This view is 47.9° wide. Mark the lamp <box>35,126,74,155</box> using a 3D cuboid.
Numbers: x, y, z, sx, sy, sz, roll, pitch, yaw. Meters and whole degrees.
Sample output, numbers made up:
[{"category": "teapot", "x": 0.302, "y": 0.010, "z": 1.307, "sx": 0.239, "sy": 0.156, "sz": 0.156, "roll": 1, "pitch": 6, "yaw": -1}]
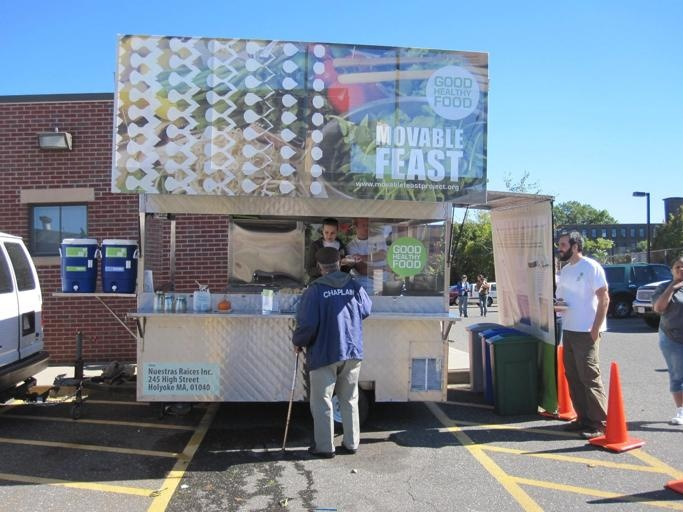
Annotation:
[{"category": "lamp", "x": -5.043, "y": -2.031, "z": 13.507, "sx": 0.507, "sy": 0.454, "sz": 0.370, "roll": 0, "pitch": -7, "yaw": -1}]

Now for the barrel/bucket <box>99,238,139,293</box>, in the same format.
[{"category": "barrel/bucket", "x": -2.988, "y": 0.124, "z": 10.389, "sx": 0.385, "sy": 0.863, "sz": 0.371, "roll": 0, "pitch": -2, "yaw": 0}]

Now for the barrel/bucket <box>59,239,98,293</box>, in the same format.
[{"category": "barrel/bucket", "x": -3.672, "y": 0.120, "z": 10.691, "sx": 0.527, "sy": 0.776, "sz": 0.437, "roll": 1, "pitch": 2, "yaw": -4}]

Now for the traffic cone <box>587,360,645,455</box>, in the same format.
[{"category": "traffic cone", "x": 3.399, "y": 1.890, "z": 9.780, "sx": 0.573, "sy": 1.162, "sz": 0.703, "roll": 0, "pitch": -2, "yaw": 0}]

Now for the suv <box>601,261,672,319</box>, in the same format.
[{"category": "suv", "x": 8.617, "y": 0.933, "z": 22.580, "sx": 2.766, "sy": 1.503, "sz": 1.374, "roll": -3, "pitch": 2, "yaw": -4}]

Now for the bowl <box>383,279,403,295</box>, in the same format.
[{"category": "bowl", "x": 0.695, "y": 0.428, "z": 10.465, "sx": 0.208, "sy": 0.156, "sz": 0.211, "roll": 1, "pitch": -3, "yaw": 0}]
